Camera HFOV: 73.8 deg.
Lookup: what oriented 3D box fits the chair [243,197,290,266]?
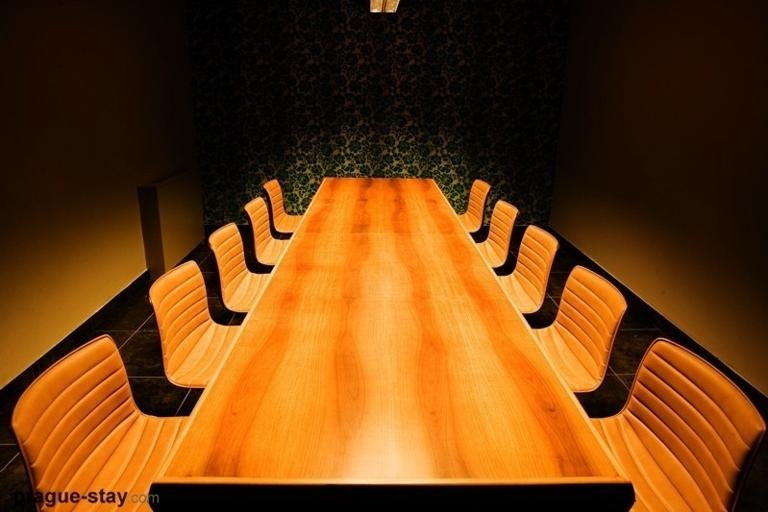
[{"bbox_3d":[-1.025,-0.211,4.487,0.451,0.507,0.563,8,27,-4],"label":"chair"}]

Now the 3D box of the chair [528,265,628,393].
[{"bbox_3d":[1.143,0.454,3.018,0.528,0.691,0.514,-10,30,-15],"label":"chair"}]

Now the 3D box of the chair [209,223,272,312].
[{"bbox_3d":[-1.050,0.098,3.741,0.480,0.526,0.581,10,25,-3],"label":"chair"}]

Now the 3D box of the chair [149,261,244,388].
[{"bbox_3d":[-1.100,0.417,2.995,0.505,0.680,0.534,8,30,8],"label":"chair"}]
